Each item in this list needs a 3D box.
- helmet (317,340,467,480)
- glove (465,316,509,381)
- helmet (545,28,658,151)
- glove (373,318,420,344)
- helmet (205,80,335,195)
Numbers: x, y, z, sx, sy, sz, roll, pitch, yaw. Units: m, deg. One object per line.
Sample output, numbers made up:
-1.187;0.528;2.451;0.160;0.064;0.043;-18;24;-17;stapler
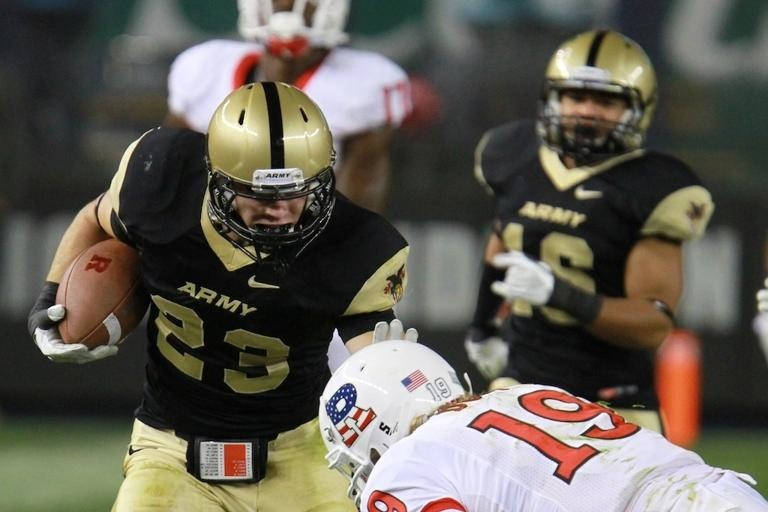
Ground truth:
-0.009;0.486;3.959;0.526;0.423;0.413;-1;21;23;helmet
0.470;0.427;5.088;0.125;0.146;0.339;-19;59;-11;glove
0.902;-0.708;4.717;0.419;0.432;0.519;12;16;20;helmet
0.029;0.250;4.066;0.110;0.105;0.031;12;10;-12;glove
-0.425;-0.419;4.025;0.367;0.357;0.445;0;39;-7;helmet
